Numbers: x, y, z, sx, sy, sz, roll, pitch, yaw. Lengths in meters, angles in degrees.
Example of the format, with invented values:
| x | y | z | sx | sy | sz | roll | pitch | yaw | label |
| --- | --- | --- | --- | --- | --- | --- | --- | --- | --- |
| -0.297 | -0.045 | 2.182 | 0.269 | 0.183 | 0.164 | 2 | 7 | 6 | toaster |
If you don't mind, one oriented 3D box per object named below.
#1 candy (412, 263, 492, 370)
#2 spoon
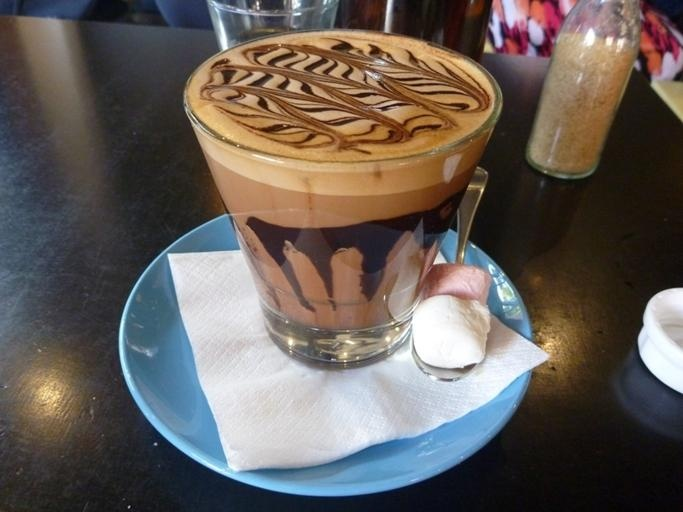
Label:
| x | y | z | sx | sy | sz | roll | pitch | yaw | label |
| --- | --- | --- | --- | --- | --- | --- | --- | --- | --- |
| 0.179 | 0.096 | 0.945 | 0.104 | 0.066 | 0.181 | 5 | 45 | 14 | candy |
| 0.216 | 0.014 | 1.044 | 0.114 | 0.047 | 0.416 | 12 | 78 | 3 | spoon |
